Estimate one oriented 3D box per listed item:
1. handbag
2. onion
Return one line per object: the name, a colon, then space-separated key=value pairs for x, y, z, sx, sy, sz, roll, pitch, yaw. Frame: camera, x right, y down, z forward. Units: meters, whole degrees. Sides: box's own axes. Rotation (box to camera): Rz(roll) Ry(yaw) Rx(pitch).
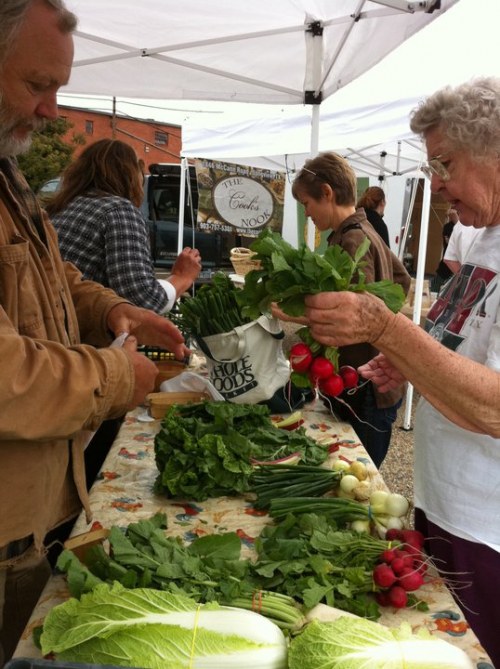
handbag: x=0.014 y=0.086 z=2.709 sx=0.556 sy=0.425 sz=0.478 roll=-4 pitch=15 yaw=-18
onion: x=0.402 y=0.527 z=1.714 sx=0.245 sy=0.171 sz=0.181 roll=-3 pitch=9 yaw=-23
